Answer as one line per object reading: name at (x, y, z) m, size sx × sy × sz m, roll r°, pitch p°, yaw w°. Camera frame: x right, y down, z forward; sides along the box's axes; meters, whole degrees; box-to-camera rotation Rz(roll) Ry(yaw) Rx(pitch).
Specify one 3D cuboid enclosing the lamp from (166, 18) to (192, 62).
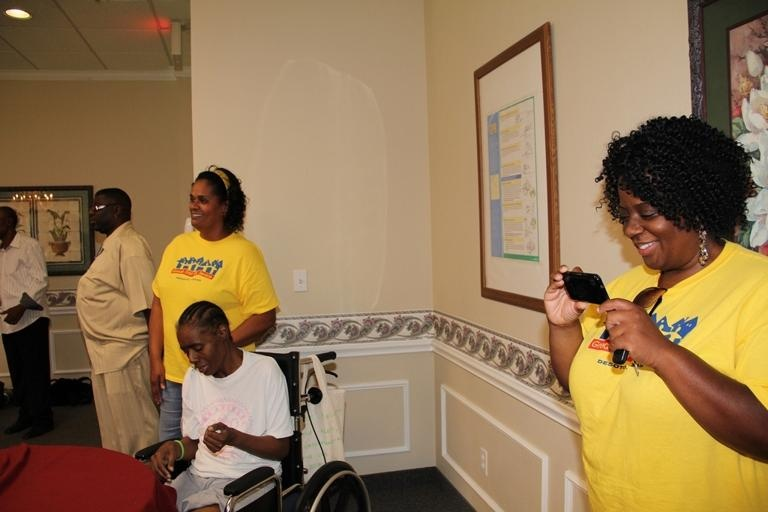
lamp at (-2.169, -2.212, 5.546) m, size 0.218 × 0.272 × 1.333 m, roll -2°, pitch 3°, yaw -21°

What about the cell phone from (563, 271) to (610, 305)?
cell phone at (0.753, 0.124, 1.901) m, size 0.021 × 0.188 × 0.108 m, roll -45°, pitch 29°, yaw -17°
